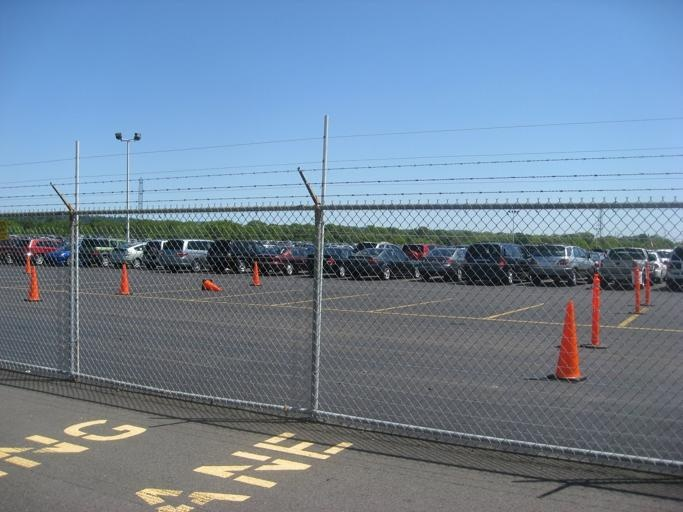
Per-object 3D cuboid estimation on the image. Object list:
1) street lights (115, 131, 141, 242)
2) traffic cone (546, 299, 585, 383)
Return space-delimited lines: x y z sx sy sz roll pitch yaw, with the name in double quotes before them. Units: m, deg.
"street lights" -3.656 -1.130 14.670 0.411 1.873 0.311 6 -13 -38
"traffic cone" 3.239 1.255 12.442 0.727 0.979 0.711 1 2 -9
